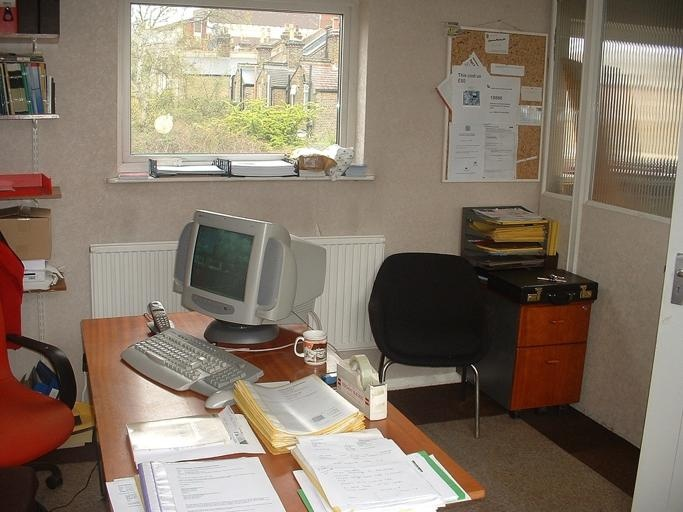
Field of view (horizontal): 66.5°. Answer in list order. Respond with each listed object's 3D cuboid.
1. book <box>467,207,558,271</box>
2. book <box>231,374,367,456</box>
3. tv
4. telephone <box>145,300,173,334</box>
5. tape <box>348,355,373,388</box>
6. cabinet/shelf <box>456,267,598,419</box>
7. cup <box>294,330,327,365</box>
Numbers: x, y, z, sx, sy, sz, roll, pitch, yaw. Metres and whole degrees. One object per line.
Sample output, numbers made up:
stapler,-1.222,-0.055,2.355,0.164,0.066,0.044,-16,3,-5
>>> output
book,1.194,-0.117,3.676,0.685,0.388,0.299,3,15,11
book,-0.146,0.490,1.719,0.316,0.097,0.346,-8,16,-29
tv,-0.398,0.039,2.556,0.750,0.604,0.586,10,14,37
telephone,-0.859,0.297,2.463,0.089,0.076,0.195,-15,40,-17
tape,0.064,0.402,1.815,0.047,0.108,0.107,-9,1,-17
cabinet/shelf,1.251,0.517,3.770,0.801,1.162,0.921,-3,9,-20
cup,-0.154,0.373,2.199,0.162,0.144,0.107,-3,11,-13
